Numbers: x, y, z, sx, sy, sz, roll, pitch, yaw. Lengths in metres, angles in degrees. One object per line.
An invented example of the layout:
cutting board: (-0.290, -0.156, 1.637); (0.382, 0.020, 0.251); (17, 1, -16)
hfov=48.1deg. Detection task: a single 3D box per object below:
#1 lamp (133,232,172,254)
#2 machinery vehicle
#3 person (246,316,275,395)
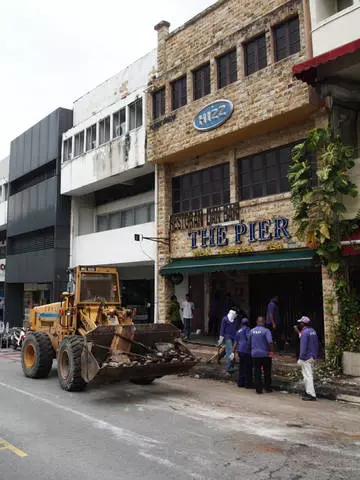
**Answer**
lamp: (-1.120, 0.113, 16.954); (1.019, 0.664, 0.883); (3, -4, -24)
machinery vehicle: (-2.216, 2.127, 10.323); (2.685, 3.008, 5.022); (11, -16, -42)
person: (1.860, 2.643, 9.387); (0.534, 1.676, 0.778); (-1, -11, 9)
